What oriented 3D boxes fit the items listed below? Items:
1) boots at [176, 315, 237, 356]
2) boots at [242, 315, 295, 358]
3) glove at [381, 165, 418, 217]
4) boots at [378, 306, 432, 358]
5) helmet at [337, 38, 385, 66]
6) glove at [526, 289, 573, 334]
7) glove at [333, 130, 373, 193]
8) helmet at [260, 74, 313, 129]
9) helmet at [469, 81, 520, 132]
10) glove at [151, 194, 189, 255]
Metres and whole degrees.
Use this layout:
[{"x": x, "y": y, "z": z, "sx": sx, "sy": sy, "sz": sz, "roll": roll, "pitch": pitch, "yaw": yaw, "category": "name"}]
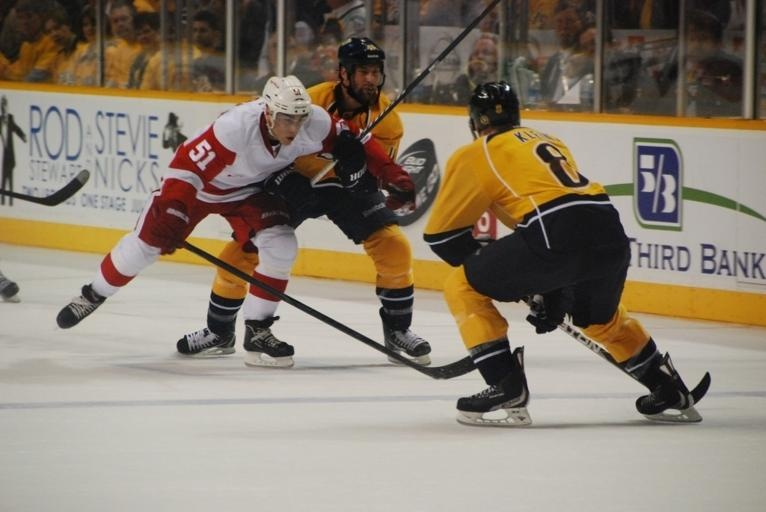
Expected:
[{"x": -1.028, "y": 0.492, "z": 5.924, "sx": 0.478, "sy": 0.296, "sz": 0.149, "roll": 2, "pitch": 6, "yaw": -7, "category": "boots"}, {"x": -0.644, "y": 0.457, "z": 5.591, "sx": 0.376, "sy": 0.231, "sz": 0.127, "roll": 10, "pitch": 14, "yaw": 35, "category": "boots"}, {"x": 0.082, "y": -0.374, "z": 5.669, "sx": 0.123, "sy": 0.179, "sz": 0.241, "roll": -26, "pitch": 56, "yaw": 1, "category": "glove"}, {"x": 0.138, "y": 0.478, "z": 5.863, "sx": 0.144, "sy": 0.262, "sz": 0.423, "roll": -7, "pitch": 5, "yaw": -34, "category": "boots"}, {"x": -0.154, "y": -1.200, "z": 5.831, "sx": 0.232, "sy": 0.188, "sz": 0.180, "roll": -14, "pitch": 2, "yaw": 43, "category": "helmet"}, {"x": 0.812, "y": 0.262, "z": 4.745, "sx": 0.091, "sy": 0.221, "sz": 0.163, "roll": -2, "pitch": 42, "yaw": -52, "category": "glove"}, {"x": -0.182, "y": -0.540, "z": 5.526, "sx": 0.227, "sy": 0.276, "sz": 0.114, "roll": -7, "pitch": 24, "yaw": -28, "category": "glove"}, {"x": -0.497, "y": -0.820, "z": 5.252, "sx": 0.253, "sy": 0.231, "sz": 0.206, "roll": 32, "pitch": 39, "yaw": 34, "category": "helmet"}, {"x": 0.492, "y": -0.719, "z": 4.830, "sx": 0.228, "sy": 0.253, "sz": 0.262, "roll": -4, "pitch": 29, "yaw": -4, "category": "helmet"}, {"x": -1.137, "y": -0.161, "z": 5.320, "sx": 0.117, "sy": 0.287, "sz": 0.218, "roll": 38, "pitch": 38, "yaw": 25, "category": "glove"}]
